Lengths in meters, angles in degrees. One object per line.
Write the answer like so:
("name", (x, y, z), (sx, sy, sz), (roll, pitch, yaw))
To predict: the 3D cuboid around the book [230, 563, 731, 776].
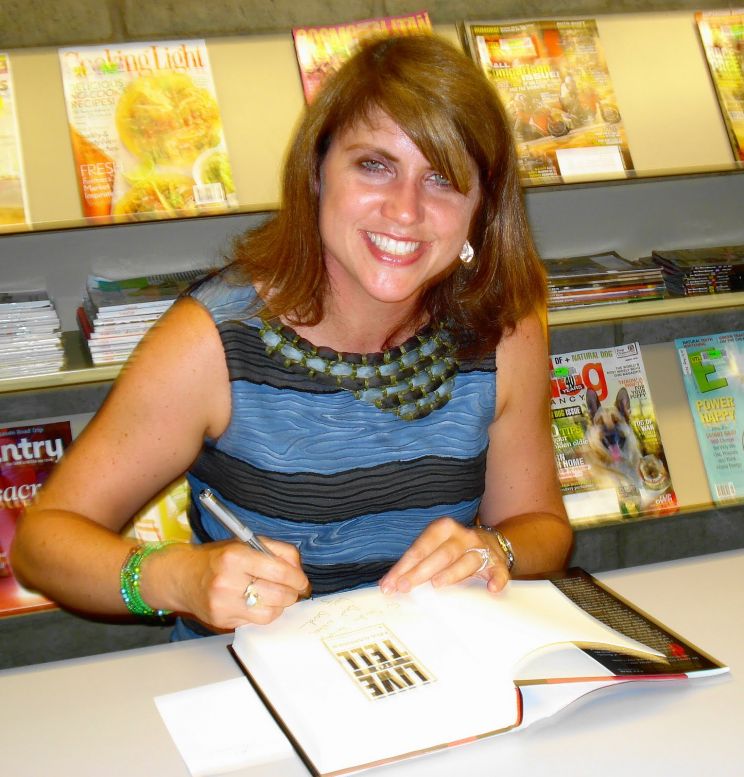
("book", (0.106, 0.251, 0.651), (0.431, 0.070, 0.252), (0, 13, -24))
